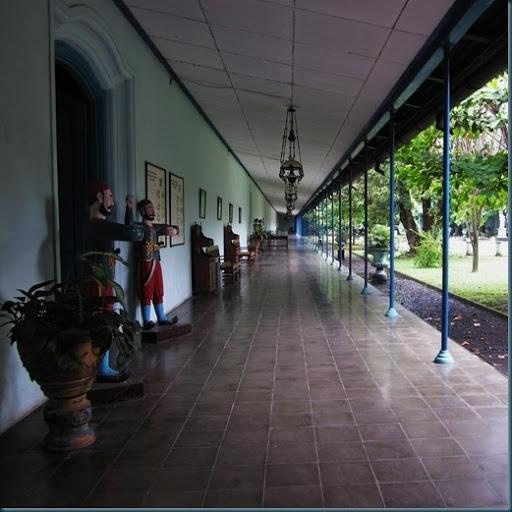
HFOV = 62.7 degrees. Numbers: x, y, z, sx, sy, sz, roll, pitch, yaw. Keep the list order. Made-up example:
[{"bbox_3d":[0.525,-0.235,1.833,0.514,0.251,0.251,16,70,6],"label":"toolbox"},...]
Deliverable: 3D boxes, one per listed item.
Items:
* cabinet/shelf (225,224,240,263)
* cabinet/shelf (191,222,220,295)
[{"bbox_3d":[-0.609,-0.280,10.515,0.286,1.116,0.975,0,-1,3],"label":"cabinet/shelf"},{"bbox_3d":[-0.917,0.087,7.448,0.338,1.374,1.162,0,1,1],"label":"cabinet/shelf"}]
